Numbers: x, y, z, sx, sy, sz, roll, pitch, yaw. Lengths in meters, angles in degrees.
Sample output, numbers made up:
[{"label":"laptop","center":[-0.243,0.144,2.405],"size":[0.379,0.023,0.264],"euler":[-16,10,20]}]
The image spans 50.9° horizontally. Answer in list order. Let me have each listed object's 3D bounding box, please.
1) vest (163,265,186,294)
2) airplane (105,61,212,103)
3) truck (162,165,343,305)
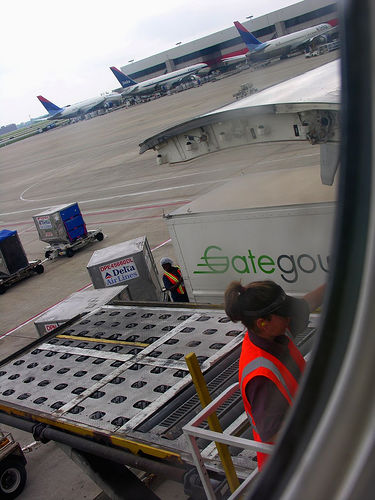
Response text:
[{"label":"vest","center":[-0.198,0.728,9.665],"size":[0.314,0.640,0.519],"euler":[-2,28,41]},{"label":"airplane","center":[-7.481,-39.613,97.083],"size":[10.807,4.833,27.428],"euler":[-29,23,-29]},{"label":"truck","center":[1.773,-0.259,7.720],"size":[3.122,1.658,2.264],"euler":[-1,26,33]}]
